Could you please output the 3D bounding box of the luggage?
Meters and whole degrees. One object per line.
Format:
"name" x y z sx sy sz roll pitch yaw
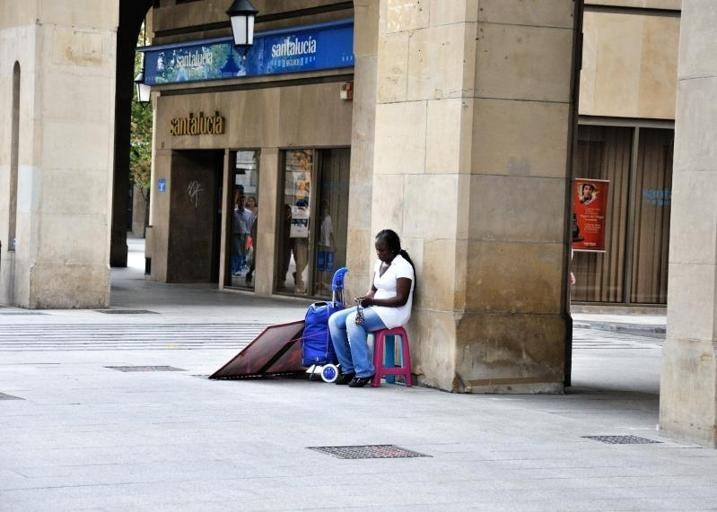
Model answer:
"luggage" -0.445 0.795 15.680 0.520 1.244 0.577 3 6 -6

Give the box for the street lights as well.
"street lights" -6.254 -2.776 39.520 0.775 8.720 0.914 -3 9 -35

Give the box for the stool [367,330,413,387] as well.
"stool" 0.366 1.162 15.560 0.570 0.766 0.608 1 -9 -17

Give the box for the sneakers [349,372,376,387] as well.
"sneakers" 0.013 1.399 15.321 0.319 0.134 0.115 -2 11 -11

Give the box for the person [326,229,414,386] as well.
"person" 0.098 0.567 15.478 1.002 1.736 0.710 1 0 -18

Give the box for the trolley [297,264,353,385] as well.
"trolley" -0.438 0.749 15.747 0.506 1.262 0.594 1 8 -15
